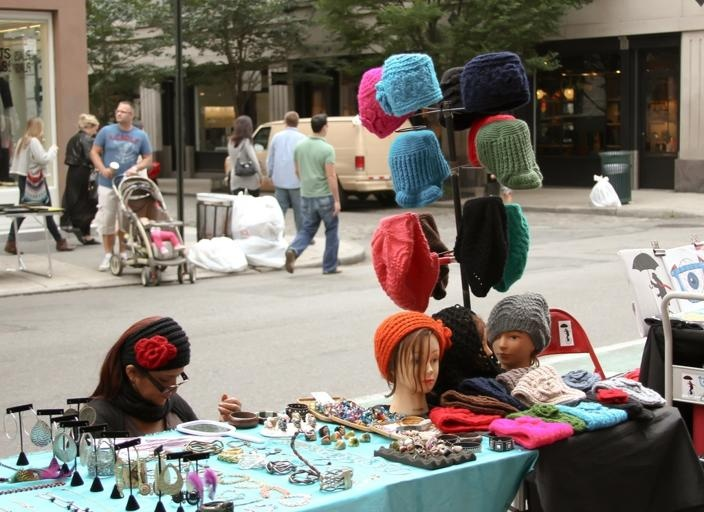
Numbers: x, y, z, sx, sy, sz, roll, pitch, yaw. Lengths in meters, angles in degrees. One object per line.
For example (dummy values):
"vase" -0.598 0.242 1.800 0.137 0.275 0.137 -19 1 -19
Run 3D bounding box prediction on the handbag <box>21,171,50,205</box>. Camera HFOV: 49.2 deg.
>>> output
"handbag" -5.760 -1.224 13.903 0.457 0.620 0.286 -7 7 -22

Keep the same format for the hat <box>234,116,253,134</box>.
"hat" -2.221 -2.634 15.561 0.352 0.429 1.135 -5 6 -8

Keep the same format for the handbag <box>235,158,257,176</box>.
"handbag" -2.095 -1.754 15.106 0.332 0.298 0.132 -4 19 -6

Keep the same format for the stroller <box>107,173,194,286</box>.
"stroller" -3.044 -0.457 11.581 1.369 1.463 0.926 12 15 36

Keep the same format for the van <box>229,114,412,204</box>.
"van" -0.878 -2.922 22.472 4.726 1.996 2.436 10 14 40

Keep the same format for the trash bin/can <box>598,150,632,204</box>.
"trash bin/can" 7.486 -2.239 21.860 0.790 1.451 1.557 -2 7 18

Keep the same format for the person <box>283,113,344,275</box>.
"person" -0.658 -0.957 12.260 0.832 2.533 0.849 -5 7 -3

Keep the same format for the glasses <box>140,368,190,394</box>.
"glasses" -0.934 0.618 3.810 0.169 0.047 0.164 28 3 13

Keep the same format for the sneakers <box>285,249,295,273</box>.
"sneakers" -0.990 0.079 12.194 0.137 0.391 0.170 -1 7 -3

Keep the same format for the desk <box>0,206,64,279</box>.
"desk" -5.590 -0.207 13.397 0.729 0.620 1.335 -4 8 -33

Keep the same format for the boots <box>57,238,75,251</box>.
"boots" -5.405 -0.188 14.407 0.389 0.247 0.150 0 8 -2
